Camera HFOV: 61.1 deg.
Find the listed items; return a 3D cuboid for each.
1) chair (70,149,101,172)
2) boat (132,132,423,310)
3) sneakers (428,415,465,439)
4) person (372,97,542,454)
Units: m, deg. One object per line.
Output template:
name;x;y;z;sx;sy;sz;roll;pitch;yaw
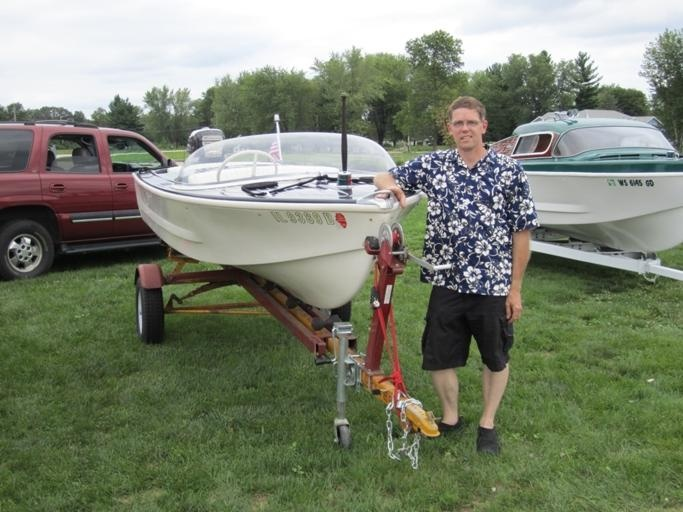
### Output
chair;-3.486;-1.308;7.991;0.273;0.359;0.360;-1;-7;-11
boat;-0.656;-0.468;5.129;1.428;1.096;2.747;-11;18;-32
sneakers;0.786;1.263;4.314;0.136;0.135;0.367;1;4;42
person;0.843;0.134;4.034;0.936;2.449;0.384;2;12;19
